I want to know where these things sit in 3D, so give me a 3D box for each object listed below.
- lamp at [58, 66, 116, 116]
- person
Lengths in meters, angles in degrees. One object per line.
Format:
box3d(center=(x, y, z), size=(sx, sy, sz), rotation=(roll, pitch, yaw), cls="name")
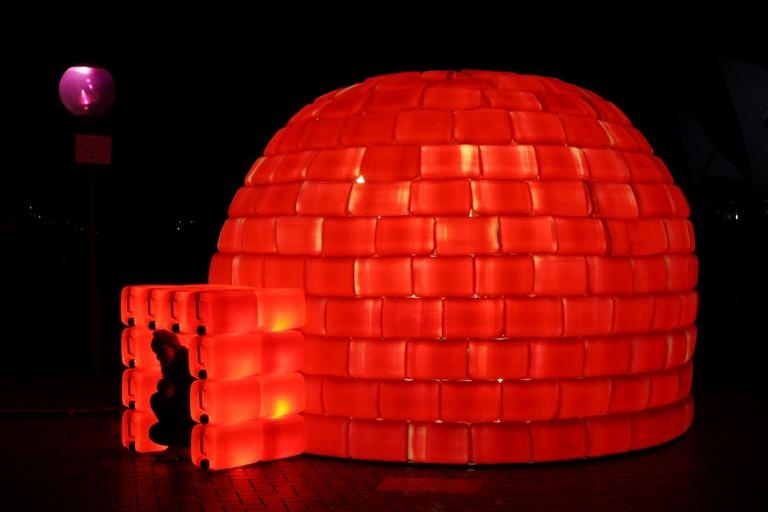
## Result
box3d(center=(-3.456, -1.915, 10.102), size=(0.748, 0.534, 0.599), rotation=(-4, 7, -7), cls="lamp")
box3d(center=(-1.727, 1.089, 7.216), size=(0.444, 0.958, 0.242), rotation=(4, 9, 33), cls="person")
